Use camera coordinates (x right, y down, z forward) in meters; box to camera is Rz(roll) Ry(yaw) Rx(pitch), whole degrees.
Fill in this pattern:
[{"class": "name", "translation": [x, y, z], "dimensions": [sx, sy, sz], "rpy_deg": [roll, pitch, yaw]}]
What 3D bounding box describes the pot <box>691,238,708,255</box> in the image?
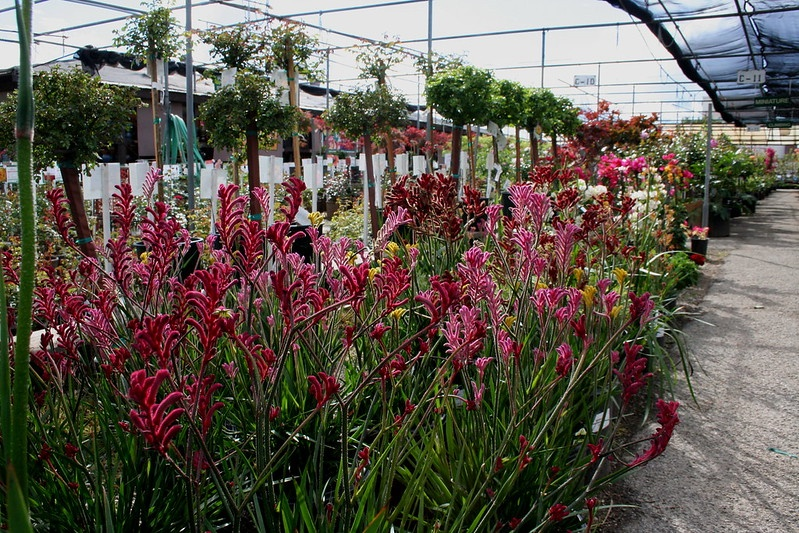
[{"class": "pot", "translation": [3.905, -0.262, 8.923], "dimensions": [0.185, 0.202, 0.183], "rpy_deg": [-1, 5, 0]}]
